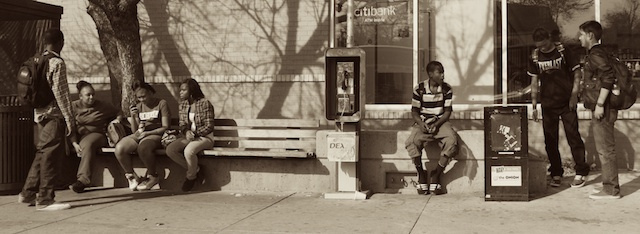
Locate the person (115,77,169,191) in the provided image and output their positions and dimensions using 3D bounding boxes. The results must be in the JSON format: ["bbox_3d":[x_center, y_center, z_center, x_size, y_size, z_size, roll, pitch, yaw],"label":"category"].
[{"bbox_3d":[-6.109,0.685,19.202,1.732,3.767,0.661,-2,2,-12],"label":"person"}]

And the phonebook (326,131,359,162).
[{"bbox_3d":[0.891,1.047,18.560,1.184,0.904,0.695,-4,-3,36],"label":"phonebook"}]
